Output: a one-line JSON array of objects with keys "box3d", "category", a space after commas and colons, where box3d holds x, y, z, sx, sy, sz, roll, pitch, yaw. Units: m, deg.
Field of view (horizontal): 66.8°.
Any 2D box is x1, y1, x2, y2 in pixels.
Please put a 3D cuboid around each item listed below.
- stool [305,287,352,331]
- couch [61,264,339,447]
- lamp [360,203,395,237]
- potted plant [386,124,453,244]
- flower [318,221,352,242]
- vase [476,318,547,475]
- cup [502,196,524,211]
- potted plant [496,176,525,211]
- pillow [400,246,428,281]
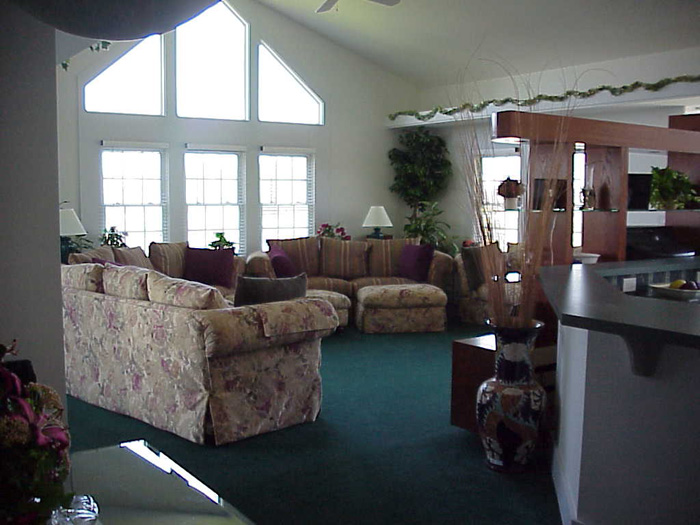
[{"box3d": [-0.226, 0.459, 5.949, 0.444, 0.427, 0.451, 5, 8, 44], "category": "stool"}, {"box3d": [-1.307, 0.525, 4.016, 2.209, 1.091, 0.999, 2, 4, 40], "category": "couch"}, {"box3d": [0.400, -0.650, 8.237, 0.490, 0.634, 0.550, 0, 5, 13], "category": "lamp"}, {"box3d": [1.246, -1.302, 8.924, 1.070, 1.996, 1.247, -2, 6, -7], "category": "potted plant"}, {"box3d": [-0.254, -0.523, 8.429, 0.368, 0.306, 0.397, 9, -26, 15], "category": "flower"}, {"box3d": [0.865, 0.725, 2.855, 0.348, 0.812, 0.149, 1, 6, 17], "category": "vase"}, {"box3d": [0.930, -0.338, 3.052, 0.119, 0.099, 0.126, 0, 6, 0], "category": "cup"}, {"box3d": [0.893, -0.380, 2.950, 0.134, 0.190, 0.387, 1, 7, 17], "category": "potted plant"}, {"box3d": [0.797, -0.001, 6.602, 0.395, 0.405, 0.125, 4, -8, 41], "category": "pillow"}]
